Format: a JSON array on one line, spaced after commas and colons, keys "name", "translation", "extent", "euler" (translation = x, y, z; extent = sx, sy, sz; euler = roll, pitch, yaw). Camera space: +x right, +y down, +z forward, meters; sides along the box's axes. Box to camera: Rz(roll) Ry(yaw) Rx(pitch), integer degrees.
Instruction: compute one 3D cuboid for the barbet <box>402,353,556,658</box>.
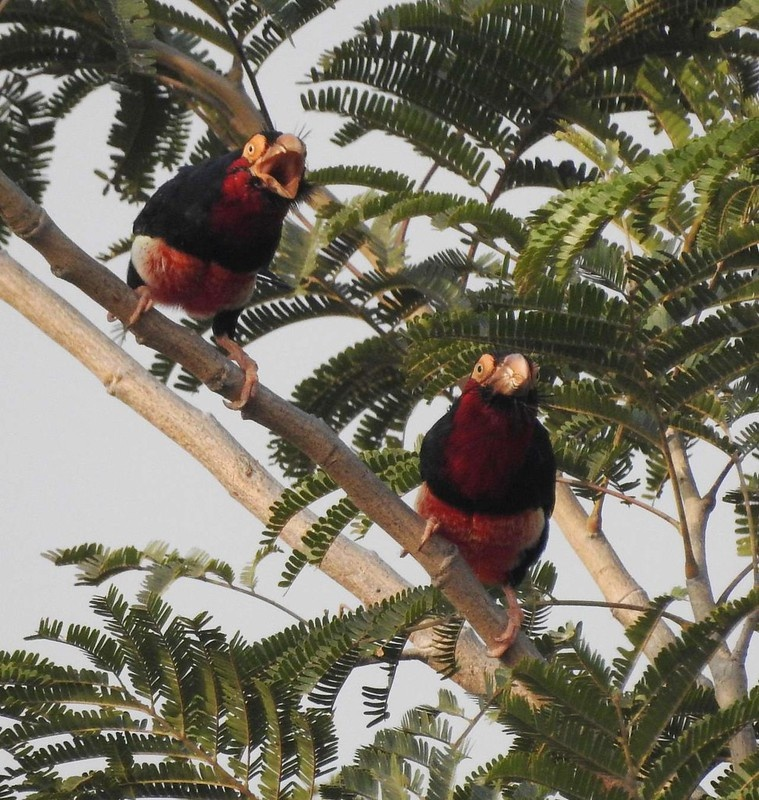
[{"name": "barbet", "translation": [0.293, 0.200, 6.311], "extent": [0.375, 0.284, 0.743], "euler": [16, -51, 12]}]
